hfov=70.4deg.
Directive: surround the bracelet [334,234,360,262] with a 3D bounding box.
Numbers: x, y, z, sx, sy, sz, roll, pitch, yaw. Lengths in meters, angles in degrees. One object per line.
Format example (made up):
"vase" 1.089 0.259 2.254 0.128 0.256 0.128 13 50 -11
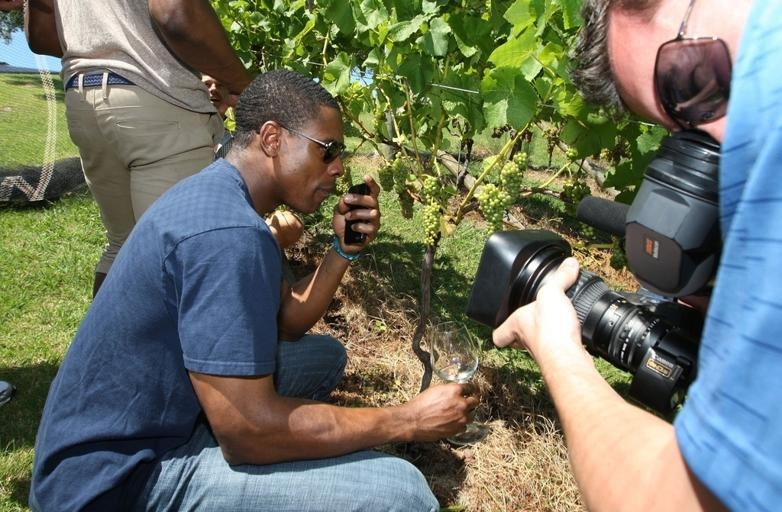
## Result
"bracelet" -0.264 -0.051 3.202 0.140 0.064 0.122 21 11 27
